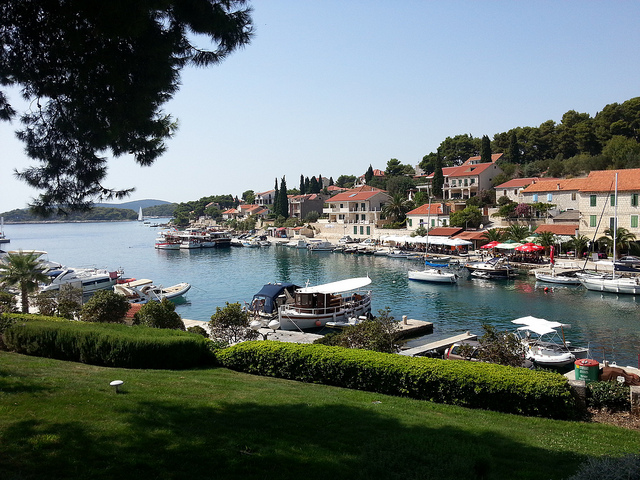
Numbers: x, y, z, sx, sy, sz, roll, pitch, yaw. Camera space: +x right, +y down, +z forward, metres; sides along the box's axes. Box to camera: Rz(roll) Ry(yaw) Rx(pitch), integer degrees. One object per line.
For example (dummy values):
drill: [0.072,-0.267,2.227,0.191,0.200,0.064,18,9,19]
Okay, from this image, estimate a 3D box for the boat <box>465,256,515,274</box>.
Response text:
boat: [17.517,2.818,64.783,3.937,1.608,1.953,-2,2,27]

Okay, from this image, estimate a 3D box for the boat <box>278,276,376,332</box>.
boat: [0.346,4.458,42.161,7.572,3.273,2.205,0,4,-40]

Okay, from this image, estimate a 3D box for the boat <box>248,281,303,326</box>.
boat: [-3.297,3.957,44.668,3.019,1.905,5.095,8,21,33]

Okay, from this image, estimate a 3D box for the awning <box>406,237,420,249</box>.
awning: [13.438,0.428,90.377,1.624,1.078,0.878,-1,-4,13]

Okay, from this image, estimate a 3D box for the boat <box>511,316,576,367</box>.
boat: [11.931,5.653,34.115,2.278,1.794,4.221,-11,10,-32]

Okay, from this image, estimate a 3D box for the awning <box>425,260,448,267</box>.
awning: [12.870,2.765,69.244,2.856,0.528,0.874,2,1,10]

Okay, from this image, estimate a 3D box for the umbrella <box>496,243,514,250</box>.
umbrella: [20.700,0.822,70.050,1.204,0.584,1.226,-1,0,7]

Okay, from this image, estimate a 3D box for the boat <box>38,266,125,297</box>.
boat: [-21.723,3.852,57.328,6.476,2.464,5.297,-11,5,-23]

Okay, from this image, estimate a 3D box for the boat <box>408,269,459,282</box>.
boat: [10.860,3.634,62.771,5.143,1.232,1.702,0,-1,38]

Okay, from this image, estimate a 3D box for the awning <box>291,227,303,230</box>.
awning: [-4.733,-2.323,126.728,0.615,0.485,2.227,0,4,-35]

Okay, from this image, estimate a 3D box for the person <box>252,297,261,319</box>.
person: [-4.383,4.700,42.861,0.429,1.337,0.481,4,-14,-11]
